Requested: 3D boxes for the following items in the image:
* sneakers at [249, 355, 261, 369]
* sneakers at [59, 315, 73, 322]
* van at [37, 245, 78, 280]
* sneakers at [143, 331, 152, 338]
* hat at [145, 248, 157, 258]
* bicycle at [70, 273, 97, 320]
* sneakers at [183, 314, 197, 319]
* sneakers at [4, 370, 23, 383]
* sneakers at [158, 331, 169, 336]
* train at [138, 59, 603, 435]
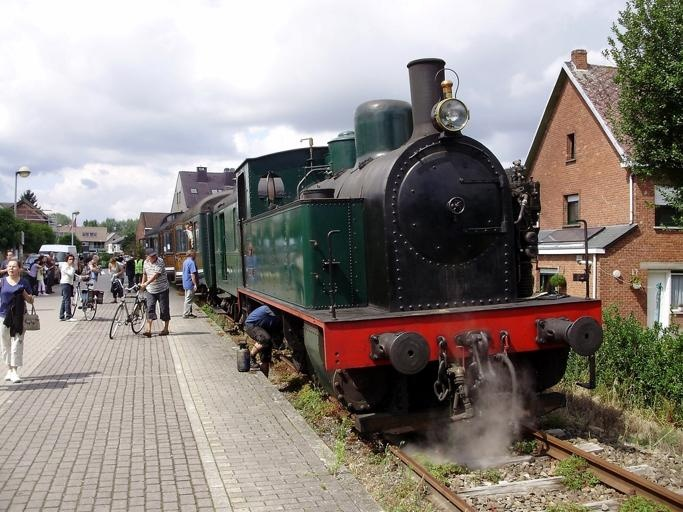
[{"bbox_3d":[-1.550,1.957,10.157,0.125,0.271,0.376,4,-15,-19],"label":"sneakers"},{"bbox_3d":[-8.125,1.839,16.419,0.389,0.188,0.150,-5,-6,35],"label":"sneakers"},{"bbox_3d":[-12.903,0.250,25.124,1.758,1.756,2.845,1,-4,-26],"label":"van"},{"bbox_3d":[-4.681,1.900,13.482,0.180,0.197,0.111,-2,-2,29],"label":"sneakers"},{"bbox_3d":[-4.570,-0.084,13.399,0.173,0.142,0.246,-2,-6,-44],"label":"hat"},{"bbox_3d":[-7.845,1.251,17.523,0.950,1.333,1.996,1,2,-26],"label":"bicycle"},{"bbox_3d":[-4.634,1.830,16.961,0.355,0.169,0.125,-2,3,-30],"label":"sneakers"},{"bbox_3d":[-5.583,2.042,9.446,0.150,0.194,0.445,3,-6,-36],"label":"sneakers"},{"bbox_3d":[-4.389,1.912,13.767,0.227,0.099,0.082,10,-10,-41],"label":"sneakers"},{"bbox_3d":[-0.167,-0.195,11.626,3.828,4.577,11.784,-3,1,-17],"label":"train"}]
